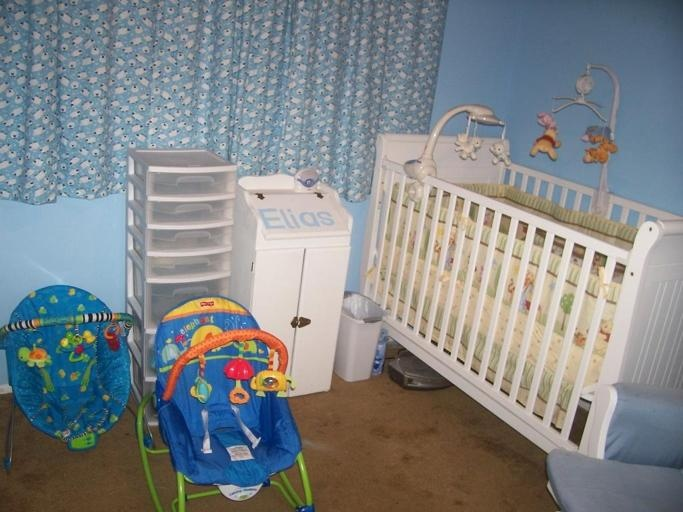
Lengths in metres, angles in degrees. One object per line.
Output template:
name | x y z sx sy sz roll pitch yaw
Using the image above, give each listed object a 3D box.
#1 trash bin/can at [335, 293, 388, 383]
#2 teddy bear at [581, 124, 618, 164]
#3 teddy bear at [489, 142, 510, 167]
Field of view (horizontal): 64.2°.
trash bin/can | 0.127 0.539 3.479 0.319 0.489 0.427 1 23 -17
teddy bear | 1.475 -0.635 3.109 0.224 0.239 0.080 8 6 -16
teddy bear | 1.068 -0.697 3.688 0.099 0.181 0.178 7 16 41
